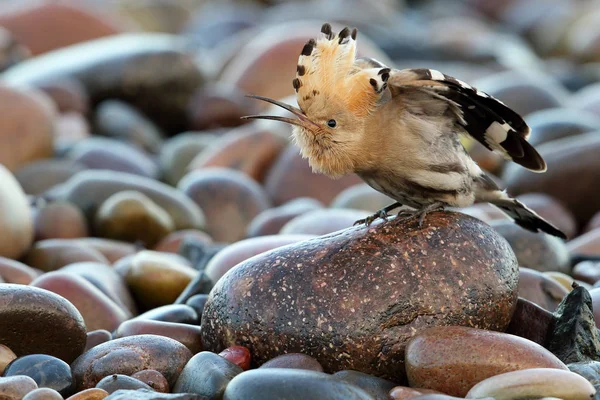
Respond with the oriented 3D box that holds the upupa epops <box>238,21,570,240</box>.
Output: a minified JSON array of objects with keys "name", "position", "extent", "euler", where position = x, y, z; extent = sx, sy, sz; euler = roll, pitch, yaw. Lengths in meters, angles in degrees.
[{"name":"upupa epops","position":[1.196,-0.557,9.113],"extent":[3.510,1.501,2.328],"euler":[7,-4,-30]}]
